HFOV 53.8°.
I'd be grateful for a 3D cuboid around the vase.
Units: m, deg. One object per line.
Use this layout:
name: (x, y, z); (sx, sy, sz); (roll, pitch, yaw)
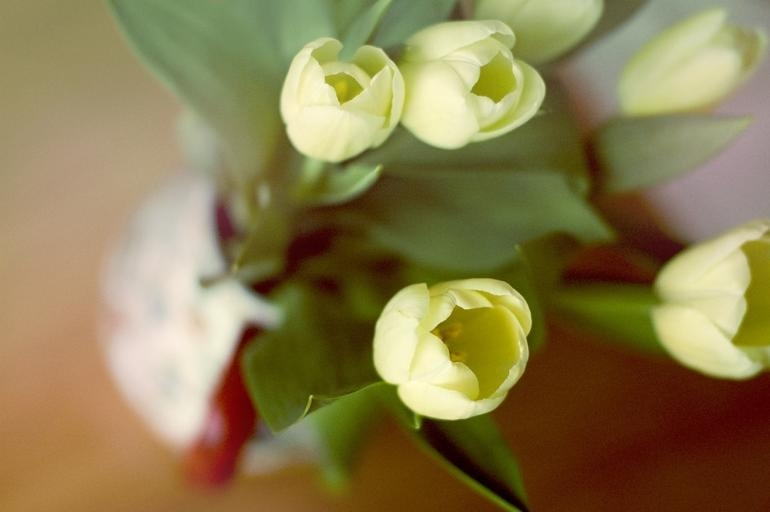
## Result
vase: (-0.119, 0.027, 0.506); (0.135, 0.099, 0.169); (-5, 104, -33)
